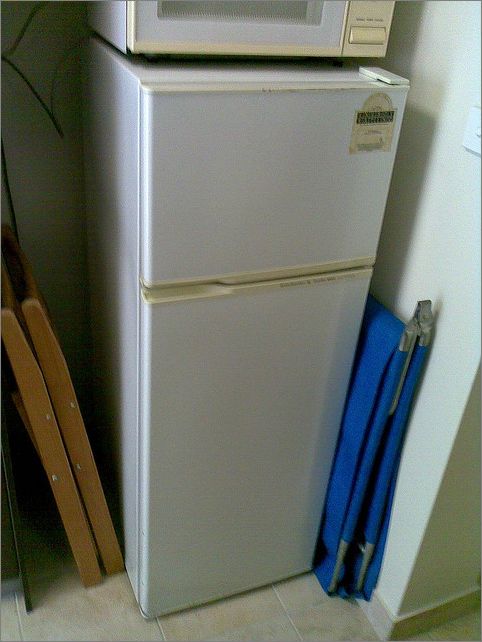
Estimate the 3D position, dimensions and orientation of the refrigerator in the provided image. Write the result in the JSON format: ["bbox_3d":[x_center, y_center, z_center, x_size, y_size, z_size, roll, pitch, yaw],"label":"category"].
[{"bbox_3d":[-0.044,0.090,1.260,0.521,1.305,0.417,-9,33,-27],"label":"refrigerator"}]
